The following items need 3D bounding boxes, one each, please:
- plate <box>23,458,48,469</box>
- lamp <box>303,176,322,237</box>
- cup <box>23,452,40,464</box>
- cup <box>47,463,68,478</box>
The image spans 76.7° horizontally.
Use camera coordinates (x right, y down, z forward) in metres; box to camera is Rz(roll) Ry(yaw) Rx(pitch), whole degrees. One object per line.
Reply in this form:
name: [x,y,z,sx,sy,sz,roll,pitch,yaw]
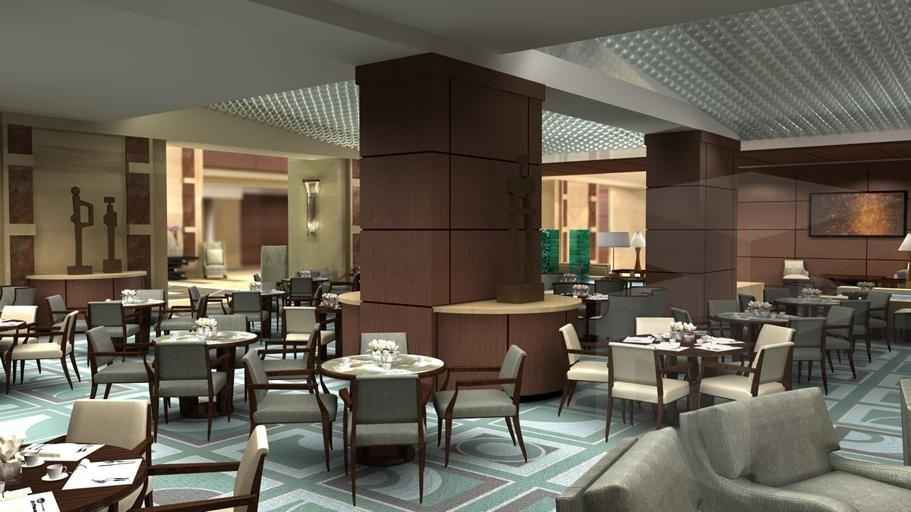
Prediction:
plate: [-3.627,1.785,4.961,0.163,0.055,0.102,-5,11,-30]
lamp: [-4.700,-1.548,18.736,0.598,1.851,0.254,3,11,13]
cup: [-3.643,1.744,4.955,0.091,0.067,0.107,3,-6,-33]
cup: [-3.325,1.809,4.837,0.144,0.083,0.109,-5,-6,15]
